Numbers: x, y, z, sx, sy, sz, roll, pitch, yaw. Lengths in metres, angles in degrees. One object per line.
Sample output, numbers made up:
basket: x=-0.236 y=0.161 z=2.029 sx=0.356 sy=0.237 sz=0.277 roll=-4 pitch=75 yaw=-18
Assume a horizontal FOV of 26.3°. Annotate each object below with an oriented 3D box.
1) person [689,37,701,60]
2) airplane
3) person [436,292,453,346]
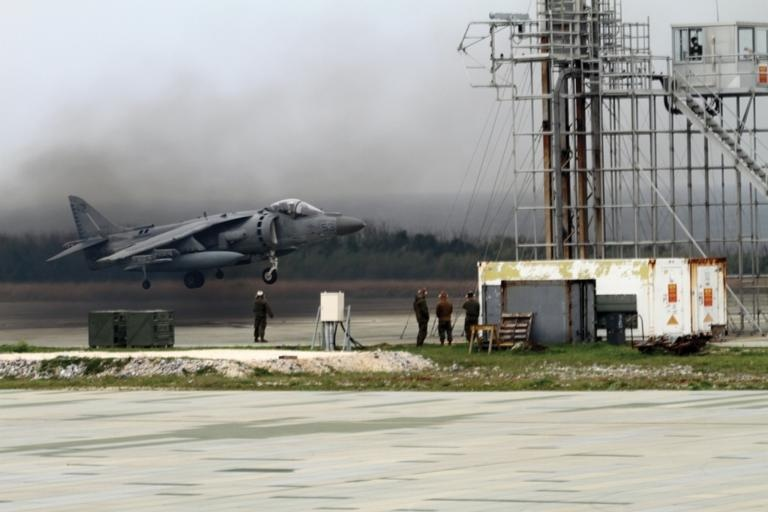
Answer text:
person: x=11.999 y=-7.906 z=62.861 sx=0.514 sy=0.827 sz=0.246 roll=2 pitch=8 yaw=22
airplane: x=-9.326 y=-0.376 z=82.781 sx=2.835 sy=5.584 sz=22.285 roll=-8 pitch=10 yaw=-40
person: x=2.049 y=2.127 z=54.971 sx=0.476 sy=1.957 sz=1.351 roll=-1 pitch=8 yaw=5
